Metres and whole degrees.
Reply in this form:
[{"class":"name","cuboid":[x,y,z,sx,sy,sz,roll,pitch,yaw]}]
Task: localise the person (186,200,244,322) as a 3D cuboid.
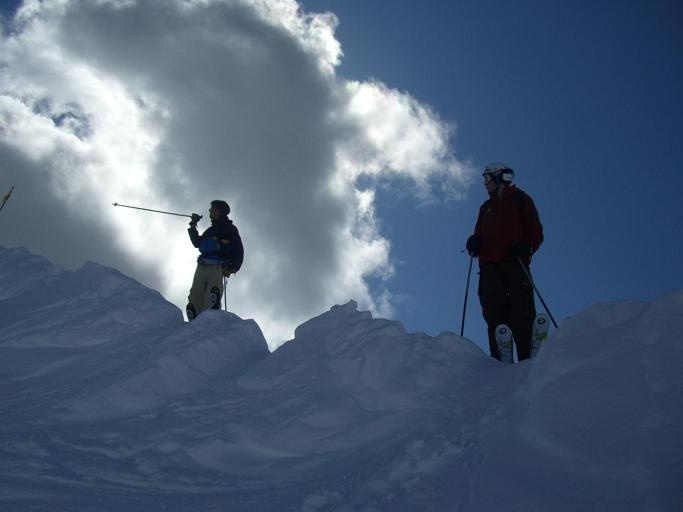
[{"class":"person","cuboid":[-1.706,0.048,12.150,0.606,1.789,0.333,9,-19,-7]}]
